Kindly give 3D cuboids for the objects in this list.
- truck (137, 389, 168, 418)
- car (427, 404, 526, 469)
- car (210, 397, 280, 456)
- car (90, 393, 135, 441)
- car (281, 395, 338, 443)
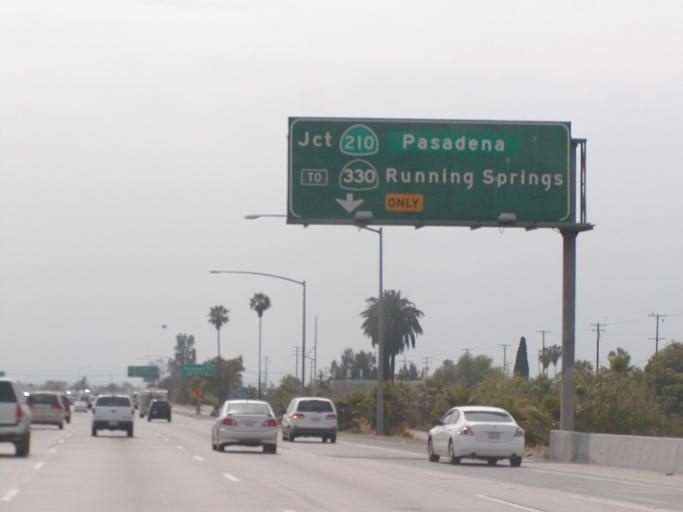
[{"bbox_3d":[-14.669,11.088,106.711,2.246,2.706,4.037,1,-9,-11],"label":"truck"},{"bbox_3d":[4.646,6.206,47.400,2.368,2.084,5.954,2,-7,-4],"label":"car"},{"bbox_3d":[-3.638,6.456,50.619,2.278,2.167,5.839,1,-10,-7],"label":"car"},{"bbox_3d":[-10.281,7.016,60.590,1.794,1.994,2.979,3,-10,-12],"label":"car"},{"bbox_3d":[-1.541,6.918,58.773,1.329,1.344,2.552,1,-1,-7],"label":"car"}]
